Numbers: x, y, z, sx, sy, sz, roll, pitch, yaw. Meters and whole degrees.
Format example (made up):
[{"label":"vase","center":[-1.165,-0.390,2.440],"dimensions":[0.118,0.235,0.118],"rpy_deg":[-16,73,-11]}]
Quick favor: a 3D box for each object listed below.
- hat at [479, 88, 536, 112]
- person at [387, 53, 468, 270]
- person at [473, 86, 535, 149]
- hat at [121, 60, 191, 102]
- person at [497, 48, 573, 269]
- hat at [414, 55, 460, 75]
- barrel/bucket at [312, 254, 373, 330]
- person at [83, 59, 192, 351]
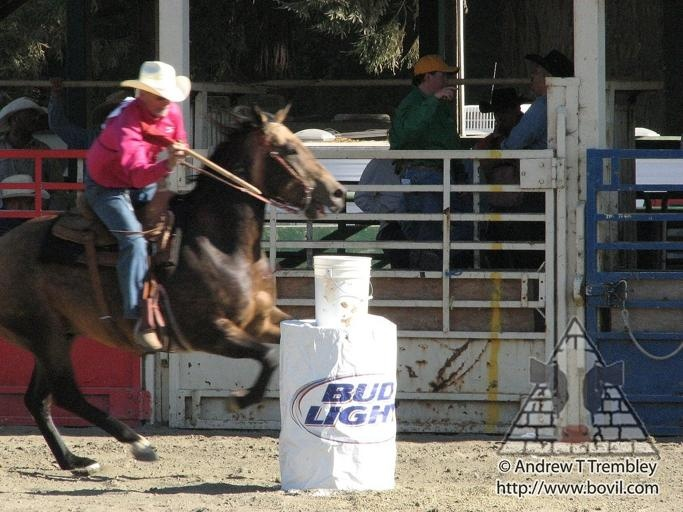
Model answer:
[{"label":"hat","center":[1.706,-1.635,19.795],"dimensions":[0.350,0.138,0.385],"rpy_deg":[-11,2,31]},{"label":"person","center":[0.847,-0.961,19.141],"dimensions":[0.787,2.125,0.938],"rpy_deg":[4,4,14]},{"label":"person","center":[1.741,-1.492,19.846],"dimensions":[0.512,0.282,0.750],"rpy_deg":[-10,10,45]},{"label":"hat","center":[-1.590,-1.509,17.289],"dimensions":[0.468,0.194,0.442],"rpy_deg":[23,-7,-25]},{"label":"person","center":[1.878,-0.977,19.049],"dimensions":[0.641,2.189,0.840],"rpy_deg":[3,4,8]},{"label":"hat","center":[0.918,-1.933,19.143],"dimensions":[0.344,0.113,0.207],"rpy_deg":[-3,7,-9]},{"label":"barrel/bucket","center":[-0.063,0.281,17.291],"dimensions":[0.612,0.584,0.609],"rpy_deg":[0,-1,0]},{"label":"person","center":[-1.834,-0.462,17.338],"dimensions":[0.879,2.612,0.652],"rpy_deg":[2,4,-5]}]
